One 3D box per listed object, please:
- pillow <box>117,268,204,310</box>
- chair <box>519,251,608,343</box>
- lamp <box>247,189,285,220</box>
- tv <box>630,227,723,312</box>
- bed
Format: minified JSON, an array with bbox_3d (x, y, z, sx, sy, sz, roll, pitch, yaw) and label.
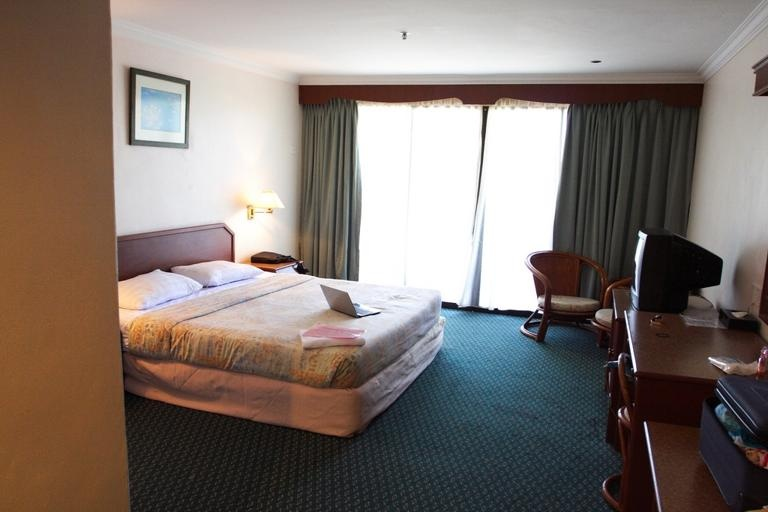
[{"bbox_3d":[-1.927,0.289,4.327,0.521,0.134,0.567,3,11,10],"label":"pillow"},{"bbox_3d":[1.965,0.427,5.673,0.849,0.868,0.921,6,12,22],"label":"chair"},{"bbox_3d":[-1.362,-0.608,6.217,0.352,0.332,0.507,5,11,19],"label":"lamp"},{"bbox_3d":[2.070,0.070,3.754,0.560,0.555,0.583,1,7,26],"label":"tv"},{"bbox_3d":[-0.994,0.428,4.668,2.555,1.234,2.198,6,12,24],"label":"bed"}]
